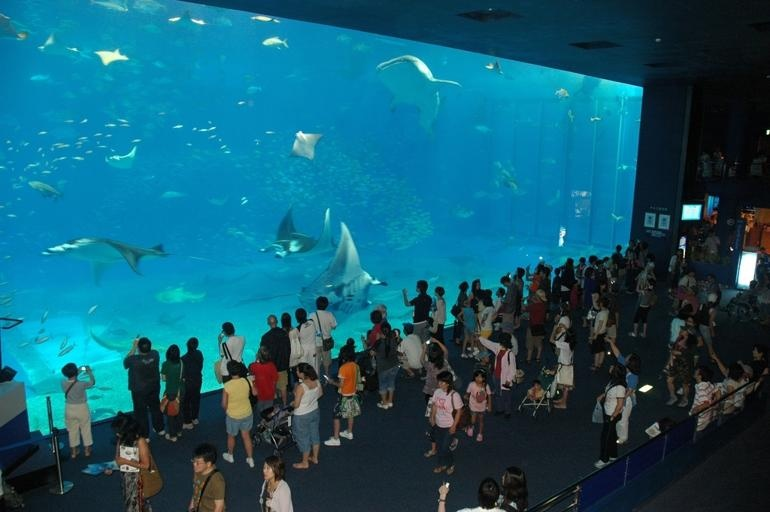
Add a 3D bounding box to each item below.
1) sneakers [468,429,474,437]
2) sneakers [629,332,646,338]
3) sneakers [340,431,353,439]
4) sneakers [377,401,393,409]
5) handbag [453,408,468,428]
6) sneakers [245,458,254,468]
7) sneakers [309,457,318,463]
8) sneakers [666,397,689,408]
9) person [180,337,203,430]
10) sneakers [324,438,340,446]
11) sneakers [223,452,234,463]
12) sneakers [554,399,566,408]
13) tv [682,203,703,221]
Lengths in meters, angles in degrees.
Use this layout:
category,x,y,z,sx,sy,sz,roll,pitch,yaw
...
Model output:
category,x,y,z,sx,sy,sz,roll,pitch,yaw
sneakers,1.952,4.065,12.472,0.109,0.108,0.284,0,-1,3
sneakers,7.706,2.432,16.560,0.492,0.199,0.171,6,29,23
sneakers,-0.925,4.125,12.545,0.310,0.127,0.137,9,9,40
sneakers,-0.026,3.668,13.357,0.185,0.098,0.277,-3,11,-17
handbag,1.622,3.438,11.490,0.218,0.501,0.813,1,-3,13
sneakers,-2.968,4.510,11.873,0.185,0.194,0.140,3,-3,-11
sneakers,-1.581,4.490,11.920,0.170,0.127,0.110,2,-3,-2
sneakers,7.235,3.692,13.585,0.647,0.234,0.208,2,16,-1
person,-4.492,2.926,12.472,0.430,2.136,0.909,3,-3,-19
sneakers,-1.223,4.229,12.360,0.325,0.120,0.169,1,1,3
sneakers,-3.470,4.443,11.906,0.140,0.189,0.284,-12,35,-39
sneakers,4.321,3.655,13.404,0.250,0.078,0.215,1,10,7
tv,11.916,-1.734,21.082,0.657,0.558,0.319,-2,9,-8
